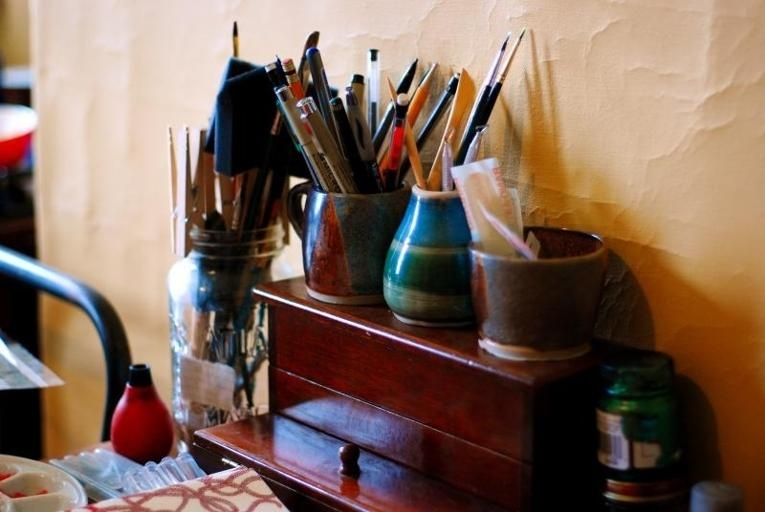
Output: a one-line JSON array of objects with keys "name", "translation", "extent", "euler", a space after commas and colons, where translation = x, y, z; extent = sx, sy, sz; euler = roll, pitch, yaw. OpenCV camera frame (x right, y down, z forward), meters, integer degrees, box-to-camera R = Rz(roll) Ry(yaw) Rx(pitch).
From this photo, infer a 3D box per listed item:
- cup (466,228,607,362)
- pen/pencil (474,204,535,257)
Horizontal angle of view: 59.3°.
[{"name": "cup", "translation": [0.160, 0.024, 0.713], "extent": [0.132, 0.101, 0.134], "euler": [-1, 8, 0]}, {"name": "pen/pencil", "translation": [0.122, -0.025, 0.688], "extent": [0.062, 0.012, 0.018], "euler": [46, 19, 13]}]
